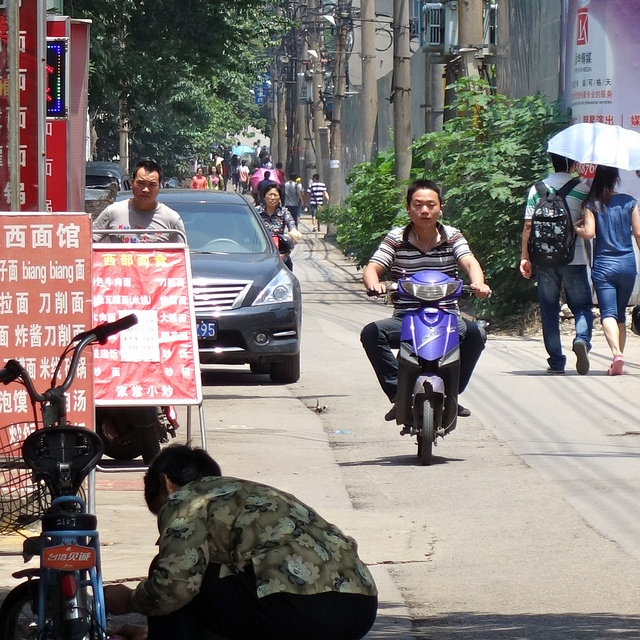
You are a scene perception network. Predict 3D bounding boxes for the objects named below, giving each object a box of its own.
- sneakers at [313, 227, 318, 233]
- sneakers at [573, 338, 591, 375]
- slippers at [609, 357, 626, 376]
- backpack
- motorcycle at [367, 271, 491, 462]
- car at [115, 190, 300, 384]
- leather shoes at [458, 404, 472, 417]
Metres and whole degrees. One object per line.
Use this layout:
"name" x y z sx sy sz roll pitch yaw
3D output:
"sneakers" -0.138 -2.941 35.301 0.095 0.194 0.104 -3 -13 3
"sneakers" 2.377 0.339 10.060 0.126 0.350 0.138 -8 8 25
"slippers" 2.728 0.410 10.056 0.152 0.193 0.172 -1 6 -8
"backpack" 2.163 -0.892 10.183 0.456 0.794 0.331 1 6 12
"motorcycle" 0.661 0.304 6.790 0.485 1.213 0.357 0 5 6
"car" -0.803 -0.373 10.825 1.215 1.180 2.412 0 -3 -2
"leather shoes" 0.943 0.584 7.157 0.056 0.063 0.156 0 -6 1
